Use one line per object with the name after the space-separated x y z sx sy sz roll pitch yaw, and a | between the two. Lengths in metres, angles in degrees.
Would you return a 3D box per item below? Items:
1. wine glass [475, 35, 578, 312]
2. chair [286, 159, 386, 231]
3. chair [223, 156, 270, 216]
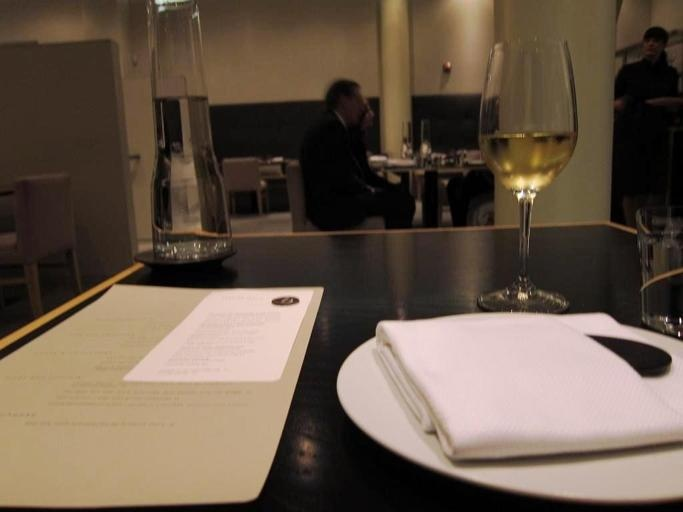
0.193 -0.084 0.578 0.099 0.258 0.190 6 14 35 | wine glass
-0.072 -0.318 3.134 0.407 0.495 0.333 -1 16 -5 | chair
-1.184 -0.879 7.025 0.520 0.765 0.582 -7 15 -14 | chair
